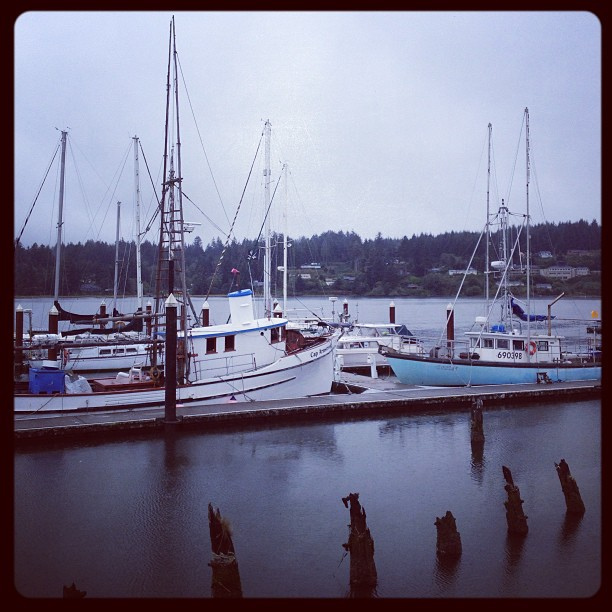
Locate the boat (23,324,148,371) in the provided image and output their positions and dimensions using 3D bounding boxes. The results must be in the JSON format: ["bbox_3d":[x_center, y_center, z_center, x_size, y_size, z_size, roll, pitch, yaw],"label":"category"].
[{"bbox_3d":[-8.468,1.654,27.227,4.536,1.749,1.435,-3,6,-23],"label":"boat"}]

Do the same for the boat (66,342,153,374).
[{"bbox_3d":[-7.955,2.076,27.789,3.329,1.307,1.333,-3,2,-16],"label":"boat"}]

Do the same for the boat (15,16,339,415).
[{"bbox_3d":[-3.819,-2.322,20.368,8.980,12.507,2.400,0,-19,-33],"label":"boat"}]
